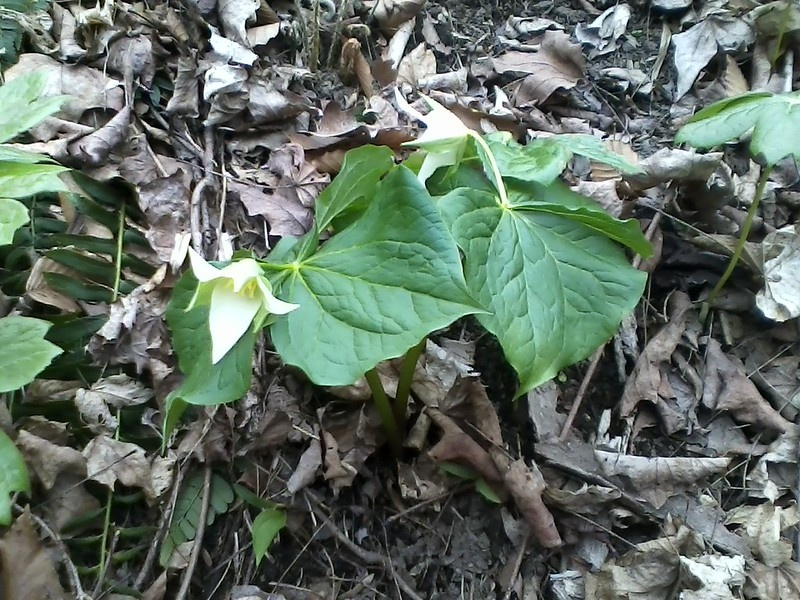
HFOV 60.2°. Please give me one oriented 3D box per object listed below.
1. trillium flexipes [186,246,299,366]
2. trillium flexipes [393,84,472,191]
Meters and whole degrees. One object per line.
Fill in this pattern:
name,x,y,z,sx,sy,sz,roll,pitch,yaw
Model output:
trillium flexipes,-0.346,0.002,1.452,0.238,0.107,0.243,19,37,-12
trillium flexipes,0.123,-0.357,1.649,0.173,0.144,0.157,-16,84,-45
